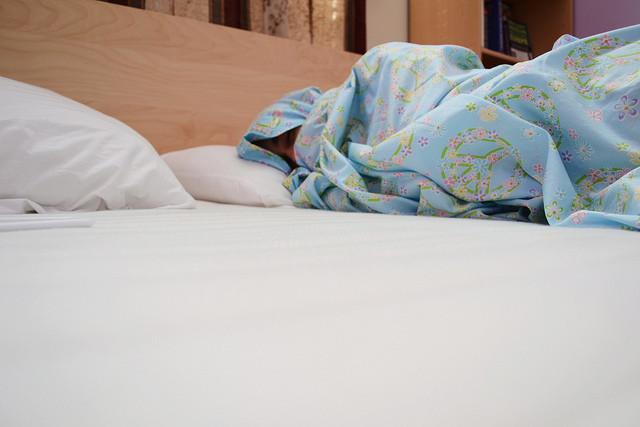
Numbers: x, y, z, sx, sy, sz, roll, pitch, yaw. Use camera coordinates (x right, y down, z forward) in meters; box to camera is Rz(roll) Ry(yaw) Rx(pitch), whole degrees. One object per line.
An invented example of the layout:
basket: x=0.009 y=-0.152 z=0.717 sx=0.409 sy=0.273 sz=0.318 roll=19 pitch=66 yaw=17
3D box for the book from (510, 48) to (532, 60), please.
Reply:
book: x=1.074 y=-0.845 z=2.569 sx=0.095 sy=0.090 sz=0.022 roll=-6 pitch=-6 yaw=-31

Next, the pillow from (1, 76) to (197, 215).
pillow: x=-0.421 y=-0.064 z=0.941 sx=0.287 sy=0.078 sz=0.321 roll=45 pitch=20 yaw=31

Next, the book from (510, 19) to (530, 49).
book: x=1.061 y=-0.942 z=2.589 sx=0.033 sy=0.146 sz=0.148 roll=-6 pitch=49 yaw=39
